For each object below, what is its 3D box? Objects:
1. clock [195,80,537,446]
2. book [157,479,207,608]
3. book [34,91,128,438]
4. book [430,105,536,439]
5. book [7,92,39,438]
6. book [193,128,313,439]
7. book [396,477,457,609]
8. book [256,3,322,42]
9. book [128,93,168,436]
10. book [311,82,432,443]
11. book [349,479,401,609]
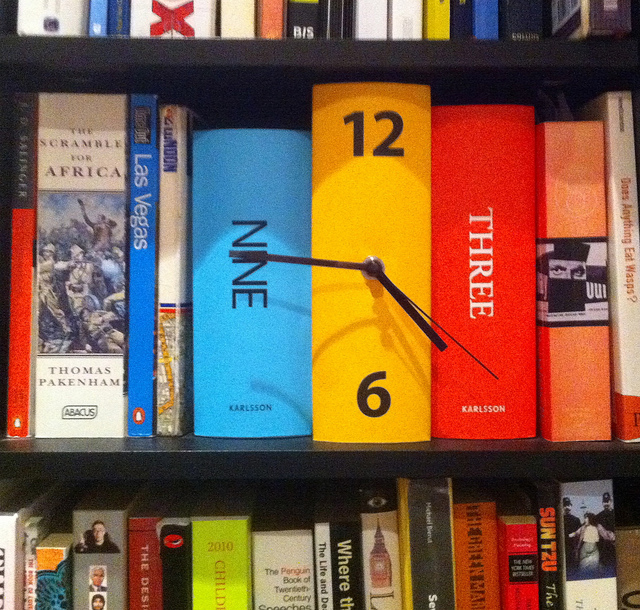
[{"bbox_3d":[0.054,-0.063,1.374,0.461,0.466,0.291,0,6,3],"label":"clock"},{"bbox_3d":[-0.176,0.309,1.296,0.058,0.183,0.151,1,3,2],"label":"book"},{"bbox_3d":[-0.305,-0.050,1.302,0.117,0.432,0.101,0,-11,-12],"label":"book"},{"bbox_3d":[0.207,-0.042,1.291,0.151,0.415,0.094,-3,-10,5],"label":"book"},{"bbox_3d":[-0.378,-0.051,1.299,0.032,0.427,0.090,1,-11,-17],"label":"book"},{"bbox_3d":[-0.085,-0.026,1.296,0.154,0.387,0.106,-1,-11,-8],"label":"book"},{"bbox_3d":[0.136,0.300,1.287,0.049,0.154,0.157,-2,-5,2],"label":"book"},{"bbox_3d":[-0.041,-0.343,1.297,0.064,0.064,0.015,0,2,-3],"label":"book"},{"bbox_3d":[-0.225,-0.050,1.306,0.042,0.425,0.090,0,-11,-12],"label":"book"},{"bbox_3d":[0.075,-0.023,1.340,0.169,0.492,0.154,-3,-22,8],"label":"book"},{"bbox_3d":[0.072,0.312,1.301,0.053,0.164,0.140,-6,-6,1],"label":"book"}]
